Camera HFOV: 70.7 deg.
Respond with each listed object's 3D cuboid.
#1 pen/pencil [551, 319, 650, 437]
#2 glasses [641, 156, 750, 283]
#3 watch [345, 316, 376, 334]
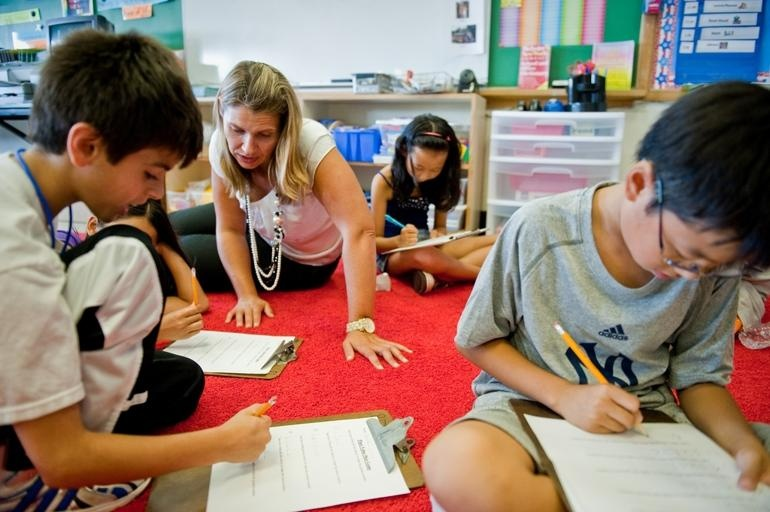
[{"bbox_3d":[0.435,0.246,1.094,0.030,0.029,0.276,-25,60,-19],"label":"pen/pencil"},{"bbox_3d":[0.517,-0.054,0.985,0.167,0.068,0.208,9,53,-32],"label":"glasses"},{"bbox_3d":[-0.072,0.213,1.662,0.071,0.075,0.047,1,75,-23],"label":"watch"}]
